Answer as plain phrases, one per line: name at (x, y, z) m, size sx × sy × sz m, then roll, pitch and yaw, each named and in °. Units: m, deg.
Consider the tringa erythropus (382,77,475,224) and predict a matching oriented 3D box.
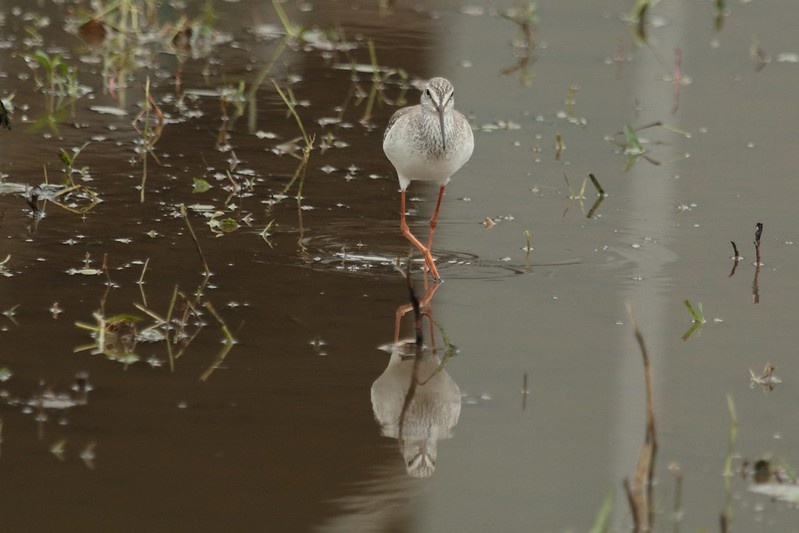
tringa erythropus at (0.189, -0.803, 5.802) m, size 0.571 × 0.774 × 0.516 m, roll -2°, pitch 53°, yaw 2°
